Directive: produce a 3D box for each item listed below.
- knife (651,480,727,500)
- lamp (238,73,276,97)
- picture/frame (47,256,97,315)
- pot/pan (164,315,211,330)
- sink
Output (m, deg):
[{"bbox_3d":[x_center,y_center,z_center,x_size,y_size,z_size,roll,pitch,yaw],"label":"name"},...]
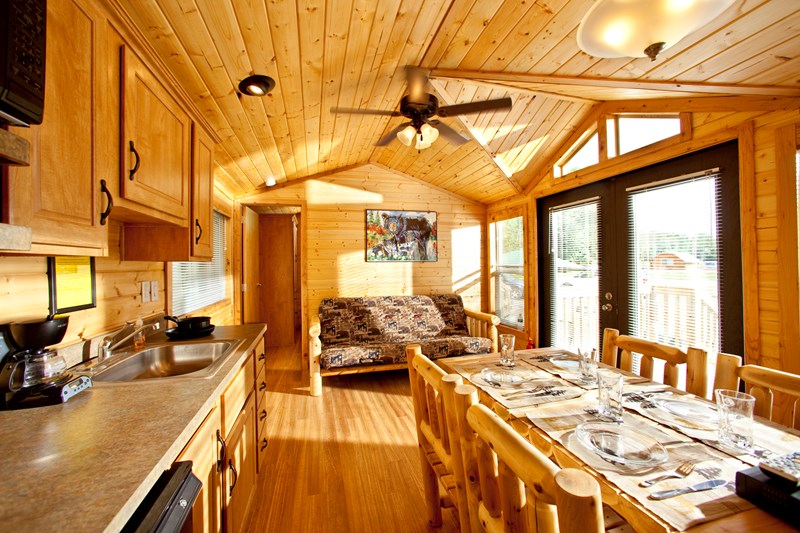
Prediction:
[{"bbox_3d":[1.251,0.966,2.220,0.371,0.078,0.032,-2,-2,-9],"label":"knife"},{"bbox_3d":[-0.980,-1.233,3.442,0.232,0.130,0.374,-2,-2,-17],"label":"lamp"},{"bbox_3d":[-1.813,0.095,2.819,0.048,0.312,0.260,-3,-2,18],"label":"picture/frame"},{"bbox_3d":[-1.408,0.364,3.427,0.193,0.059,0.151,-1,1,-42],"label":"pot/pan"},{"bbox_3d":[-1.290,0.550,2.980,0.596,0.185,0.770,-2,-2,11],"label":"sink"}]
